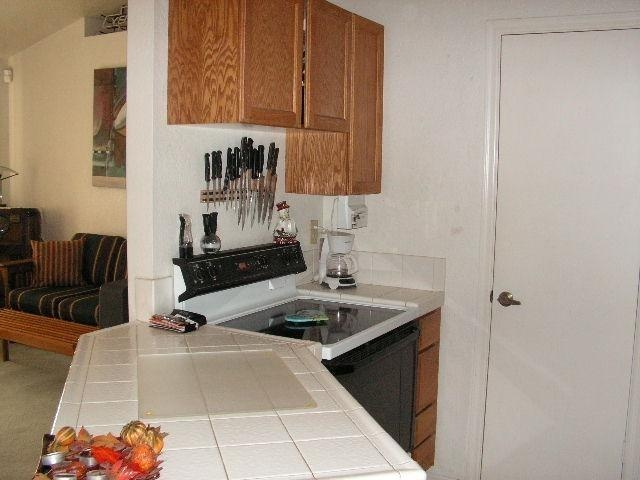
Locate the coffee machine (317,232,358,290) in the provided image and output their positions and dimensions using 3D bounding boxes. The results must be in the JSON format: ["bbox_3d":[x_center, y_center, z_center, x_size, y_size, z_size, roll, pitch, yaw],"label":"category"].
[{"bbox_3d":[0.115,0.127,3.211,0.235,0.350,0.186,2,9,3],"label":"coffee machine"}]

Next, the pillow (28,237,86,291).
[{"bbox_3d":[-2.488,0.189,4.861,0.586,0.495,0.343,1,5,-14],"label":"pillow"}]

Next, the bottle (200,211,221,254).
[{"bbox_3d":[-0.557,-0.037,2.583,0.090,0.201,0.140,0,9,-11],"label":"bottle"}]

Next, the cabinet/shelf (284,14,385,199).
[{"bbox_3d":[0.028,-0.780,3.086,0.425,0.970,0.719,8,12,26],"label":"cabinet/shelf"}]

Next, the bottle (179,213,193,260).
[{"bbox_3d":[-0.646,-0.021,2.446,0.063,0.204,0.155,0,9,-15],"label":"bottle"}]
